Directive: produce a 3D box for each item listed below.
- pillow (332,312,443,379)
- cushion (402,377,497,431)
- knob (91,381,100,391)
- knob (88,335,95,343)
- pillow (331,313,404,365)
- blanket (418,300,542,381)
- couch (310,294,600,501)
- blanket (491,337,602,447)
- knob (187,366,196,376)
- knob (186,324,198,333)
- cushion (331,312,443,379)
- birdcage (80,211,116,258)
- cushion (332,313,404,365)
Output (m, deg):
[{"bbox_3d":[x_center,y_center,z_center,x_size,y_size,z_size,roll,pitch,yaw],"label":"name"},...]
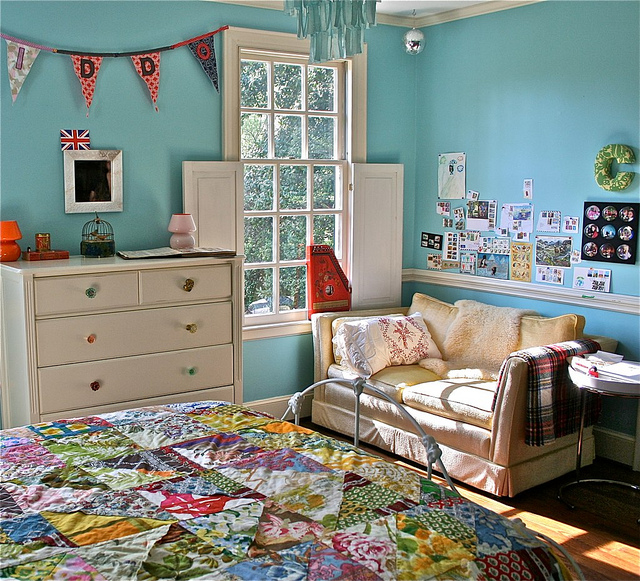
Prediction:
[{"bbox_3d":[0.470,0.362,3.463,0.629,0.421,0.183,-5,-22,-26],"label":"pillow"},{"bbox_3d":[0.786,0.619,2.966,0.316,0.072,0.311,-6,7,-39],"label":"cushion"},{"bbox_3d":[-1.171,0.494,2.669,0.041,0.048,0.020,3,3,-28],"label":"knob"},{"bbox_3d":[-1.175,0.247,2.630,0.027,0.041,0.028,3,3,-13],"label":"knob"},{"bbox_3d":[0.309,0.420,3.721,0.604,0.388,0.323,-4,18,-29],"label":"pillow"},{"bbox_3d":[1.058,0.314,3.367,0.571,0.560,0.181,8,-12,45],"label":"blanket"},{"bbox_3d":[0.761,0.177,3.073,1.107,1.059,1.868,0,5,-37],"label":"couch"},{"bbox_3d":[1.333,0.561,2.957,0.672,0.491,0.322,-5,8,-32],"label":"blanket"},{"bbox_3d":[-0.741,0.460,2.955,0.047,0.045,0.034,26,-3,-24],"label":"knob"},{"bbox_3d":[-0.728,0.214,2.920,0.061,0.042,0.018,-9,-13,-24],"label":"knob"},{"bbox_3d":[0.459,0.363,3.507,0.576,0.422,0.186,-7,-26,-28],"label":"cushion"},{"bbox_3d":[-1.305,-0.310,3.014,0.199,0.223,0.195,-5,2,-22],"label":"birdcage"},{"bbox_3d":[0.322,0.369,3.771,0.305,0.304,0.479,-7,-8,11],"label":"cushion"}]
